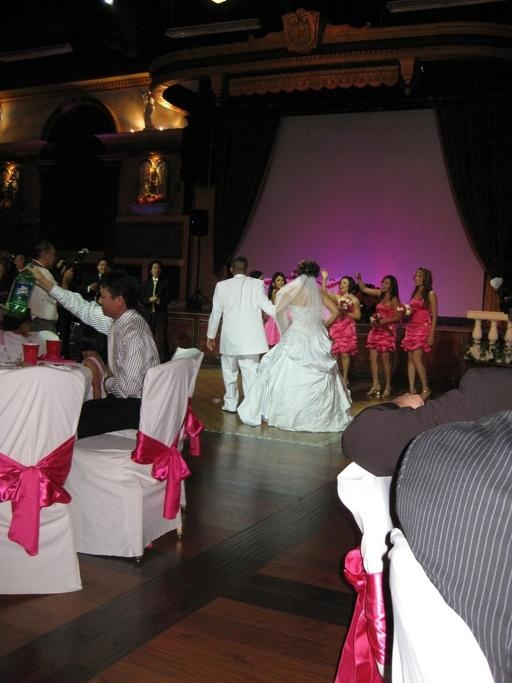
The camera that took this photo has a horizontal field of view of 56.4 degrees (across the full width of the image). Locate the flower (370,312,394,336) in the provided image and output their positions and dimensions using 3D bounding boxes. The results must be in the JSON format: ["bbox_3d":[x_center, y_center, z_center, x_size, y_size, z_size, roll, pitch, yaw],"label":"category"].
[{"bbox_3d":[1.757,-0.293,6.683,0.281,0.176,0.225,1,-19,2],"label":"flower"}]

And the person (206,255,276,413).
[{"bbox_3d":[-0.188,-0.106,5.630,0.830,1.768,0.587,1,1,5],"label":"person"}]

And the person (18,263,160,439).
[{"bbox_3d":[-0.949,0.206,2.821,0.884,1.204,0.505,0,14,-8],"label":"person"}]

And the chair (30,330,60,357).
[{"bbox_3d":[-1.718,-0.006,3.797,0.276,0.209,0.288,2,-3,-30],"label":"chair"}]

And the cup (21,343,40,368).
[{"bbox_3d":[-1.062,0.055,2.276,0.122,0.119,0.116,1,5,0],"label":"cup"}]

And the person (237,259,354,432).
[{"bbox_3d":[0.475,0.018,5.025,1.150,1.764,0.502,5,4,11],"label":"person"}]

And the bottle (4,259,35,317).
[{"bbox_3d":[-1.441,-0.308,2.876,0.135,0.323,0.546,3,4,-28],"label":"bottle"}]
